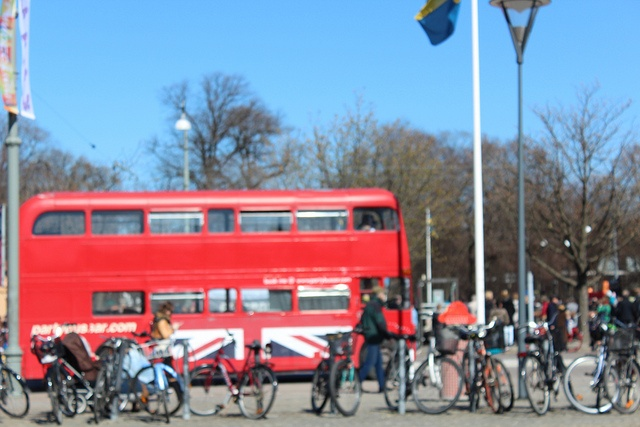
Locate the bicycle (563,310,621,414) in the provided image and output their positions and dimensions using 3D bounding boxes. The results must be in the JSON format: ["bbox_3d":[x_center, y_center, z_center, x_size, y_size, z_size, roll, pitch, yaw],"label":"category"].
[{"bbox_3d":[7.562,4.464,38.001,1.222,2.228,1.033,-4,-7,-9],"label":"bicycle"}]

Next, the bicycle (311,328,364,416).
[{"bbox_3d":[0.454,4.574,38.455,1.020,2.375,0.958,1,-7,-32],"label":"bicycle"}]
